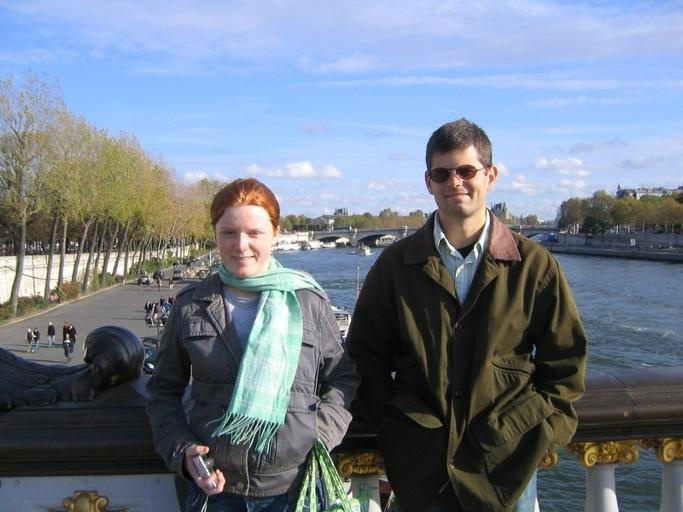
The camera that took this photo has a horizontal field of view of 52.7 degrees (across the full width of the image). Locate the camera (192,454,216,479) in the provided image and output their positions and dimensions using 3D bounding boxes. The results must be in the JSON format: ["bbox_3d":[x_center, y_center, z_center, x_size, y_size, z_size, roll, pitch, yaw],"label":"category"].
[{"bbox_3d":[-0.569,0.862,2.835,0.030,0.086,0.079,-15,28,-25],"label":"camera"}]

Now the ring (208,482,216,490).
[{"bbox_3d":[-0.528,0.934,2.806,0.025,0.054,0.027,-2,-4,0],"label":"ring"}]
